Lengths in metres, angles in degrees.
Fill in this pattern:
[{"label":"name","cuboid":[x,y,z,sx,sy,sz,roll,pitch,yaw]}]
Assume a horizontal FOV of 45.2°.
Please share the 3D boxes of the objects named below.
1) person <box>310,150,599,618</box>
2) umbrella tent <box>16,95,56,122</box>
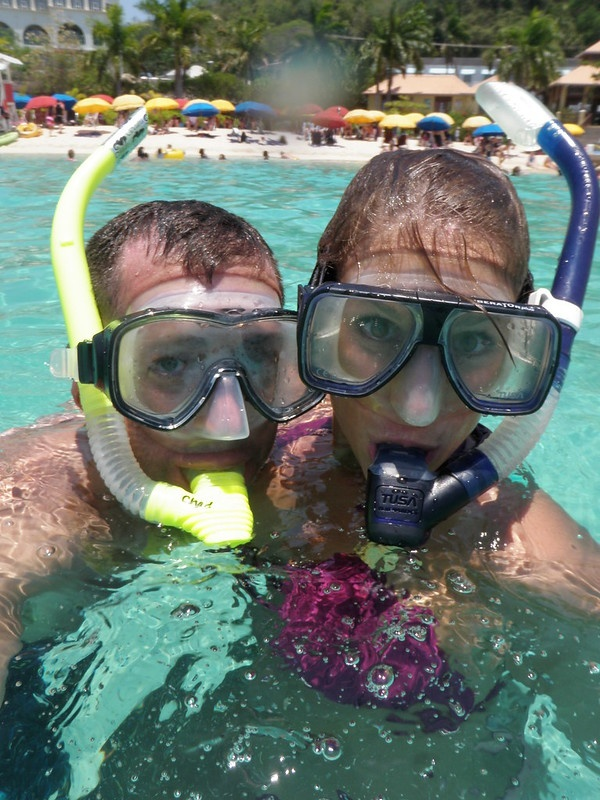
[{"label":"person","cuboid":[0.474,-0.067,1.940,0.909,1.101,0.434,9,22,28]},{"label":"umbrella tent","cuboid":[-11.052,-12.233,30.391,1.319,1.049,5.378,-9,23,-17]}]
